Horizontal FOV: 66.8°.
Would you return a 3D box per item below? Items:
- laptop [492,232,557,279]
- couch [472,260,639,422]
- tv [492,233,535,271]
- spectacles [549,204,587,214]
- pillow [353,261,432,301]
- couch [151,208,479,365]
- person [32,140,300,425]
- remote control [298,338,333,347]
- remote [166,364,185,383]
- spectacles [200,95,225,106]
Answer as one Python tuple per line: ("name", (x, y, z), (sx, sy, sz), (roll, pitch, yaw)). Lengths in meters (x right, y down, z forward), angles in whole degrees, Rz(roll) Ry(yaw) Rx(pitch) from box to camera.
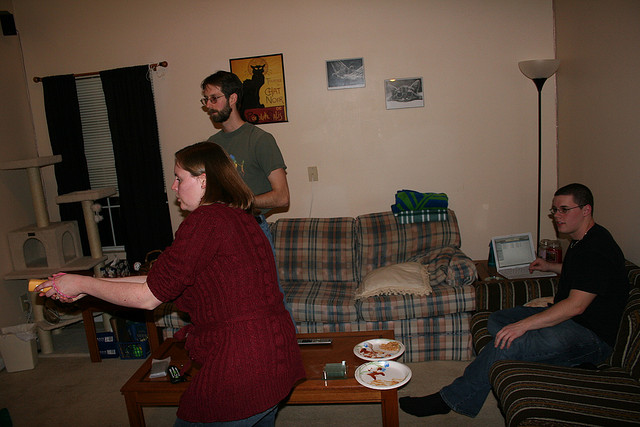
("laptop", (1.875, 0.398, 4.493), (0.436, 0.293, 0.458), (-4, 15, -3))
("couch", (1.662, 0.625, 3.406), (0.922, 0.840, 1.620), (0, 10, 13))
("tv", (1.856, 0.362, 4.754), (0.436, 0.325, 0.308), (-5, 25, 1))
("spectacles", (1.869, -0.037, 3.648), (0.245, 0.066, 0.119), (0, 6, 35))
("pillow", (0.675, 0.601, 4.288), (0.402, 0.102, 0.419), (-4, 15, 11))
("couch", (-0.056, 0.733, 4.647), (2.871, 1.234, 1.018), (-2, 9, -1))
("person", (-0.671, 0.373, 2.620), (1.017, 1.499, 0.340), (-2, 5, 10))
("remote control", (-0.032, 0.995, 3.773), (0.269, 0.037, 0.100), (-3, 5, 0))
("remote", (-1.030, 1.132, 3.467), (0.077, 0.033, 0.137), (-2, 23, -25))
("spectacles", (-0.851, -0.897, 3.820), (0.202, 0.062, 0.073), (-1, 6, 24))
